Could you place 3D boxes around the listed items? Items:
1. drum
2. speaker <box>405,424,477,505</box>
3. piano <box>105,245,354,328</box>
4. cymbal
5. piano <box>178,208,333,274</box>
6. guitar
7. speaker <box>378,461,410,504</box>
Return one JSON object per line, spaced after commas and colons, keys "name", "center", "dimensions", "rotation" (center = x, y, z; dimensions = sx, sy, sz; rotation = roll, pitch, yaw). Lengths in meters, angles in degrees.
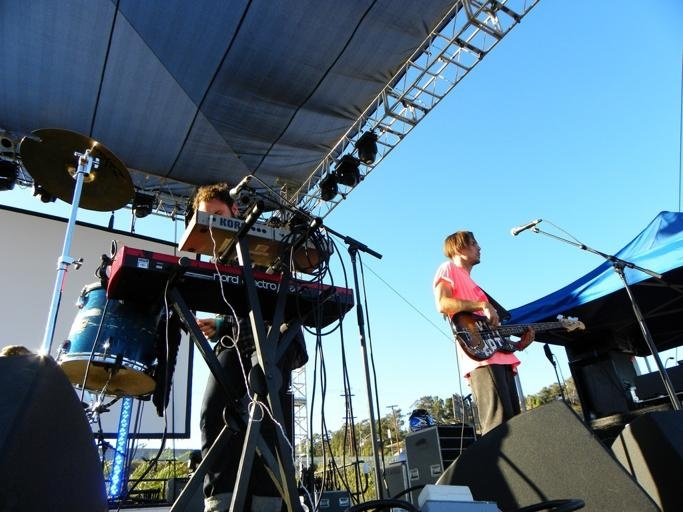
{"name": "drum", "center": [-1.408, 0.523, 2.959], "dimensions": [0.524, 0.532, 0.600], "rotation": [0, -37, -6]}
{"name": "speaker", "center": [0.967, 2.143, 4.629], "dimensions": [0.610, 0.853, 0.654], "rotation": [-8, -29, 9]}
{"name": "piano", "center": [-0.498, 0.123, 2.427], "dimensions": [1.097, 0.146, 0.367], "rotation": [10, -4, -2]}
{"name": "cymbal", "center": [-2.062, -0.713, 3.775], "dimensions": [0.713, 0.163, 0.732], "rotation": [-4, -43, 4]}
{"name": "piano", "center": [-0.458, -0.072, 2.501], "dimensions": [0.722, 0.123, 0.346], "rotation": [12, -24, -24]}
{"name": "guitar", "center": [1.168, 0.492, 3.149], "dimensions": [0.989, 0.361, 0.121], "rotation": [-5, -43, -17]}
{"name": "speaker", "center": [0.586, 2.421, 5.141], "dimensions": [0.274, 0.418, 0.276], "rotation": [20, -40, -21]}
